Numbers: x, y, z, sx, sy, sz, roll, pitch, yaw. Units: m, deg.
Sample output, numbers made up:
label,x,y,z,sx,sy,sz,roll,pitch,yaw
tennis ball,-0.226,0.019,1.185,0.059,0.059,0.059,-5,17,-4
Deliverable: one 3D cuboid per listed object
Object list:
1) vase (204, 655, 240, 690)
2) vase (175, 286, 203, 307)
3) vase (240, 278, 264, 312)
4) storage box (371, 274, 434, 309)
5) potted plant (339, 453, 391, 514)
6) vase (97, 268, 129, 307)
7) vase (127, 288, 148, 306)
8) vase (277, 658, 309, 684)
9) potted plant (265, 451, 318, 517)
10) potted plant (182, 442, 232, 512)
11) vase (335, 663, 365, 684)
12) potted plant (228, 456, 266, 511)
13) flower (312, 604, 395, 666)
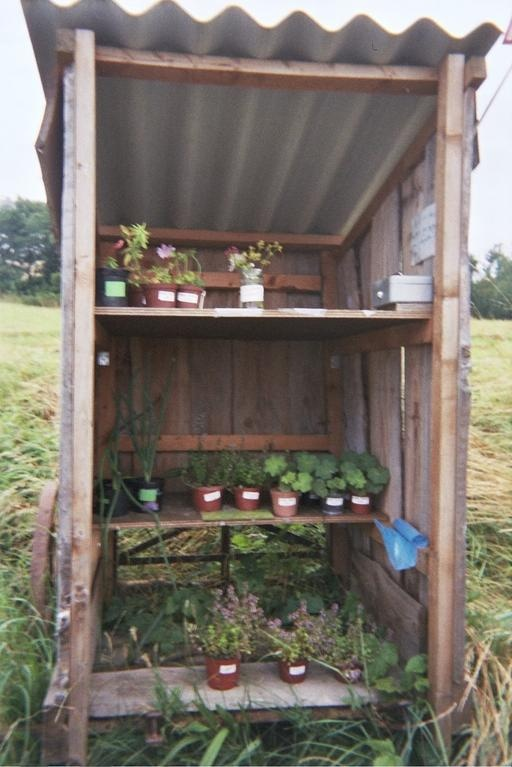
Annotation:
label,x,y,z,sx,sy,sz,roll,pitch,yaw
vase,-0.135,1.146,2.606,0.136,0.126,0.134,-1,2,-5
vase,-0.272,-0.349,2.654,0.114,0.091,0.143,-1,3,-7
vase,-0.014,-0.370,2.702,0.116,0.131,0.119,0,-1,3
storage box,0.581,-0.365,2.587,0.179,0.123,0.258,-1,3,-2
potted plant,0.510,0.491,3.015,0.243,0.230,0.261,-2,12,-5
vase,-0.547,-0.367,2.534,0.132,0.134,0.136,0,-4,-5
vase,-0.494,-0.360,2.729,0.081,0.092,0.083,0,-1,-3
vase,0.150,1.151,2.587,0.099,0.076,0.102,0,-13,0
potted plant,0.180,0.476,3.081,0.275,0.277,0.250,7,-17,-22
potted plant,-0.229,0.488,3.171,0.170,0.249,0.209,2,3,22
vase,0.376,1.148,2.601,0.084,0.038,0.094,1,-15,-2
potted plant,-0.034,0.509,3.067,0.117,0.172,0.119,0,14,-17
flower,0.403,1.065,2.718,0.262,0.200,0.267,13,-6,-27
